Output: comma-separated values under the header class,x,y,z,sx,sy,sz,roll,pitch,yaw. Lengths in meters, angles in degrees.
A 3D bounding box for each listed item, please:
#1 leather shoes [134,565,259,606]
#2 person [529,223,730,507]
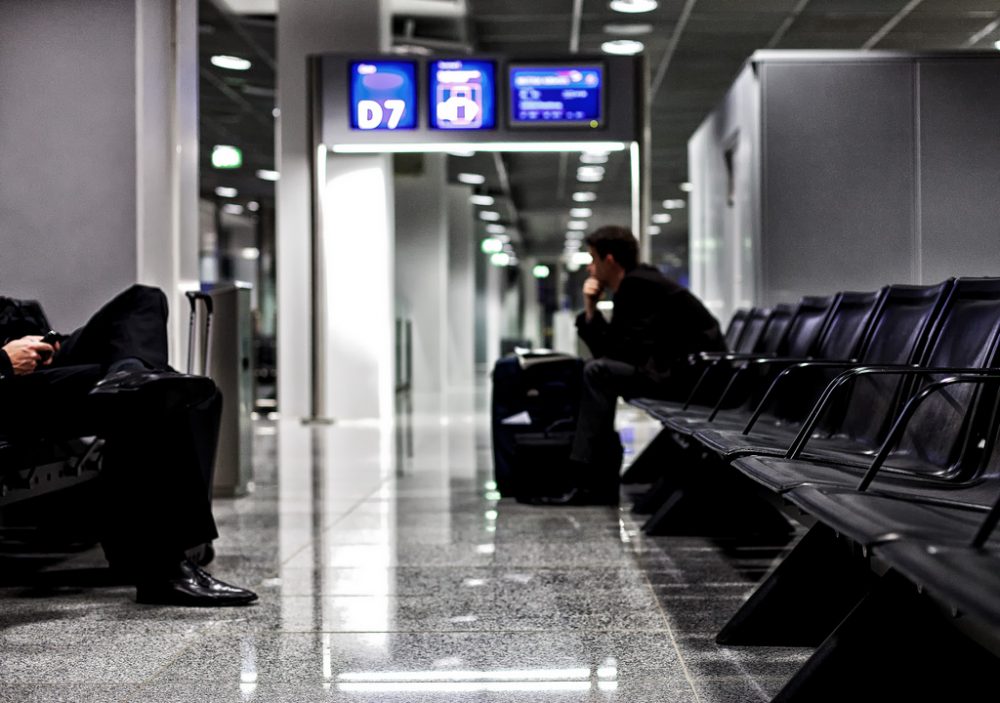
class,x,y,z,sx,sy,sz,roll,pitch,yaw
leather shoes,-1.054,0.806,3.171,0.481,0.161,0.155,0,-7,-1
person,0.698,0.212,5.253,1.542,1.927,0.904,-1,-16,8
